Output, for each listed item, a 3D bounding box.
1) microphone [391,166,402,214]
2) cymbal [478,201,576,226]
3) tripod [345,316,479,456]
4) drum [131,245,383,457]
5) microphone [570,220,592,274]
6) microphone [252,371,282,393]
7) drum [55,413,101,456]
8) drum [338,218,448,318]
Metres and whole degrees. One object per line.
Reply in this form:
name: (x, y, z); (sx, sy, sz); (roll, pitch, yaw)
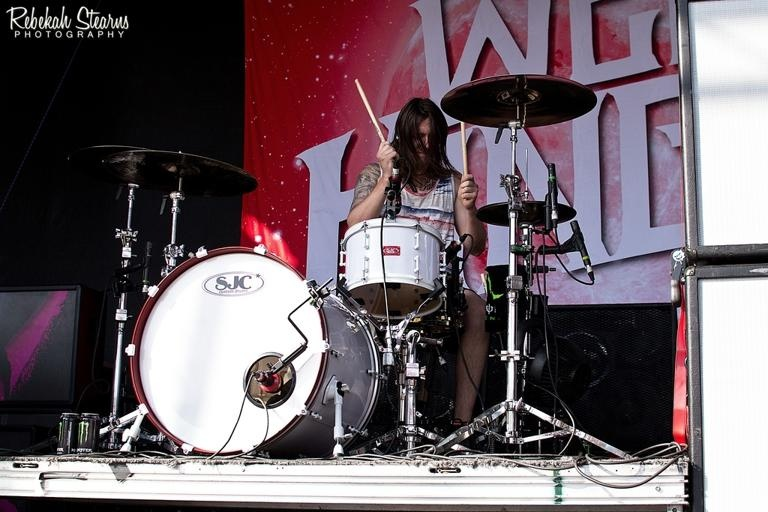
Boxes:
microphone: (0.056, -0.313, 5.228); (0.045, 0.243, 0.066); (1, -5, -1)
cymbal: (0.694, -0.219, 5.682); (0.257, 0.034, 0.250); (4, -15, -5)
tripod: (0.245, 0.640, 5.183); (0.596, 0.622, 0.618); (-5, -10, 29)
drum: (-0.596, 0.434, 4.938); (1.116, 0.946, 0.356); (0, -5, 6)
microphone: (1.085, -0.032, 5.949); (0.068, 0.337, 0.059); (-16, -32, 7)
microphone: (-0.518, 0.556, 4.762); (0.095, 0.099, 0.107); (-9, -8, 6)
drum: (-1.433, 0.824, 5.040); (0.220, 0.208, 0.131); (5, -16, -15)
drum: (0.032, 0.081, 5.240); (0.490, 0.302, 0.477); (2, -32, 1)
